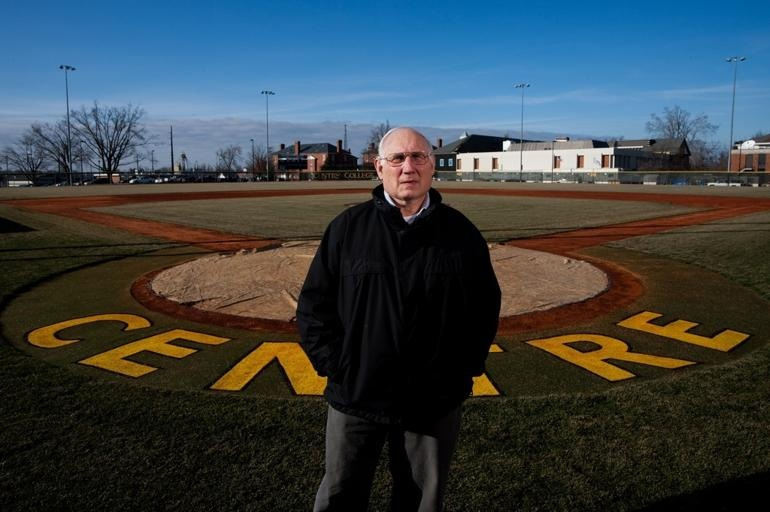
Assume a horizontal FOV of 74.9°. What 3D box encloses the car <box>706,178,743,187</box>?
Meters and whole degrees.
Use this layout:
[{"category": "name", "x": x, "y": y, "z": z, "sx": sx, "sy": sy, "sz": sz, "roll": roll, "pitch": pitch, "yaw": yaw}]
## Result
[{"category": "car", "x": 27.413, "y": -5.955, "z": 40.624, "sx": 2.268, "sy": 0.793, "sz": 1.335, "roll": 5, "pitch": 7, "yaw": 43}]
